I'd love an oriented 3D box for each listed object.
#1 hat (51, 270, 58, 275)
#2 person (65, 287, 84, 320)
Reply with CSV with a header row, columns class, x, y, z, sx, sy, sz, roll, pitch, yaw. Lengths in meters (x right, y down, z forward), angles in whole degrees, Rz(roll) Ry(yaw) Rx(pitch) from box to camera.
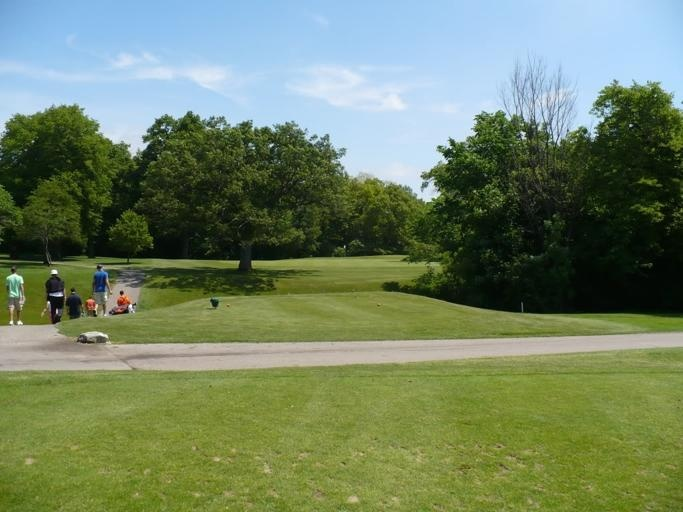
class,x,y,z,sx,sy,sz,roll,pitch,yaw
hat,-12.245,0.679,28.963,0.382,0.201,0.477,4,-2,-23
person,-10.709,1.957,27.212,0.660,1.121,1.852,1,-2,-21
